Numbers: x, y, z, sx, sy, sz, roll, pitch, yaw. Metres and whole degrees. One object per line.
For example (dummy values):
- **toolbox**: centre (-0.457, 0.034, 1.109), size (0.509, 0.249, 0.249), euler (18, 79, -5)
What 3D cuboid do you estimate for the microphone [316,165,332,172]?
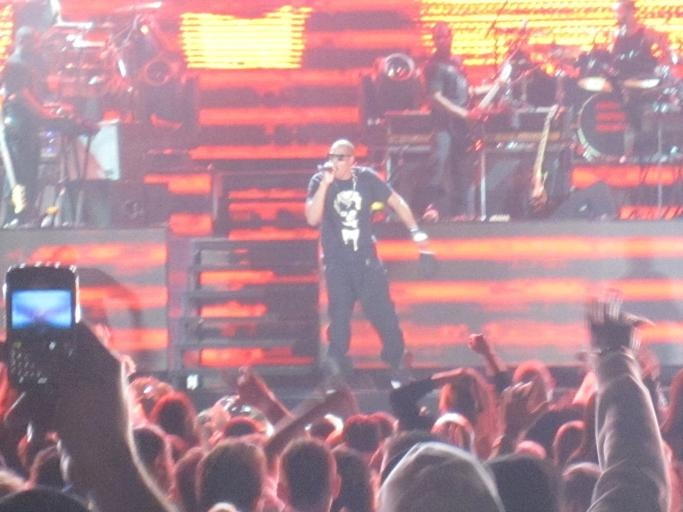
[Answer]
- **microphone**: centre (-0.138, -0.656, 11.453), size (0.079, 0.050, 0.179), euler (0, 0, -18)

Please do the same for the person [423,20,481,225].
- **person**: centre (0.854, -1.019, 12.265), size (0.495, 1.429, 0.426), euler (1, 1, 12)

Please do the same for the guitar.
- **guitar**: centre (1.601, -0.780, 12.251), size (0.323, 0.935, 0.259), euler (-6, 19, -2)

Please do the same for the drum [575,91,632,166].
- **drum**: centre (2.110, -1.019, 12.264), size (0.363, 0.559, 0.343), euler (-5, 15, 1)

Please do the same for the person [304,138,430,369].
- **person**: centre (0.131, -0.082, 11.437), size (0.778, 1.848, 0.639), euler (-2, 19, 0)
